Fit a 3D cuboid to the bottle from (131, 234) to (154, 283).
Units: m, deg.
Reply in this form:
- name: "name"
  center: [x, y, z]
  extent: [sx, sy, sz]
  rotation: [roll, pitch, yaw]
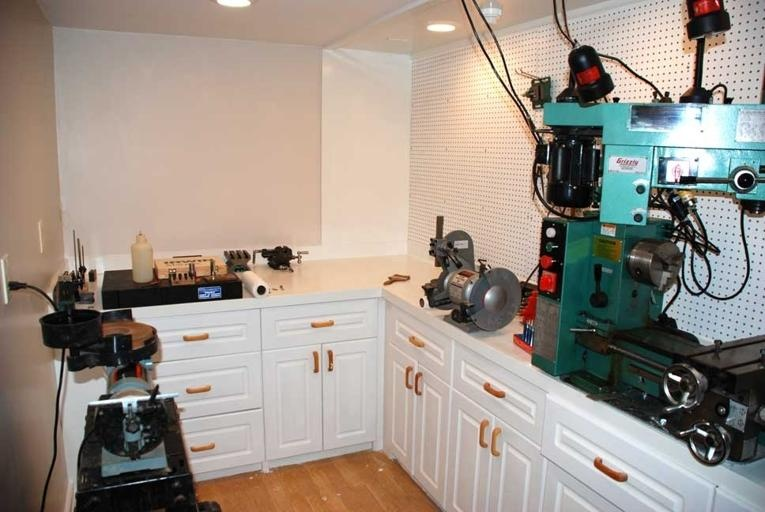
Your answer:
- name: "bottle"
  center: [-1.443, 0.005, 3.323]
  extent: [0.134, 0.279, 0.282]
  rotation: [-9, 9, -23]

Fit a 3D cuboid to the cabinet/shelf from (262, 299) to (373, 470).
- name: "cabinet/shelf"
  center: [-0.465, 0.781, 3.757]
  extent: [0.758, 1.072, 0.514]
  rotation: [-3, 11, -20]
